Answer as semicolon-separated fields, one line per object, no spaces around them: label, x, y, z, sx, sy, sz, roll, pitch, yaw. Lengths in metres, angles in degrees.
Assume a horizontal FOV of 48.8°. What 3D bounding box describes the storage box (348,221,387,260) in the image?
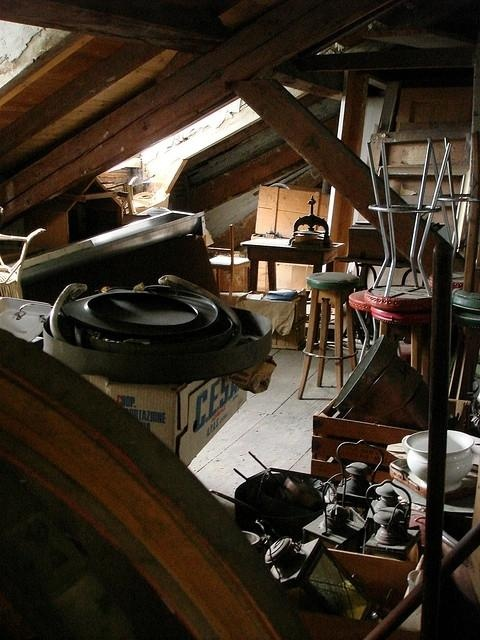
storage box;1.040;-0.657;4.351;0.316;0.266;0.299;6;15;28

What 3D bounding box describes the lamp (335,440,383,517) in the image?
lamp;0.506;0.660;2.244;0.205;0.286;0.200;6;0;-13

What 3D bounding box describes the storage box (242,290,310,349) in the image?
storage box;0.393;-0.042;5.085;0.663;0.439;0.548;6;15;30

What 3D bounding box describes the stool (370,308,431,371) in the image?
stool;0.964;0.111;3.104;0.300;0.235;0.245;14;-11;-6

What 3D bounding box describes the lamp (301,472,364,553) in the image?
lamp;0.354;0.750;1.966;0.248;0.286;0.233;0;4;-4

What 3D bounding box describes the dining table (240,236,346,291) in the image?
dining table;0.495;-0.606;4.863;0.892;0.583;0.675;3;10;17

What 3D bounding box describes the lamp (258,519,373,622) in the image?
lamp;0.222;0.802;1.596;0.202;0.208;0.326;12;48;-33

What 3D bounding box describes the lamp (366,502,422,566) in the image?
lamp;0.533;0.721;1.852;0.166;0.183;0.212;-2;0;28

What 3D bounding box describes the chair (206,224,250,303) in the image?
chair;-0.207;-0.634;5.859;0.423;0.690;0.419;0;9;9
